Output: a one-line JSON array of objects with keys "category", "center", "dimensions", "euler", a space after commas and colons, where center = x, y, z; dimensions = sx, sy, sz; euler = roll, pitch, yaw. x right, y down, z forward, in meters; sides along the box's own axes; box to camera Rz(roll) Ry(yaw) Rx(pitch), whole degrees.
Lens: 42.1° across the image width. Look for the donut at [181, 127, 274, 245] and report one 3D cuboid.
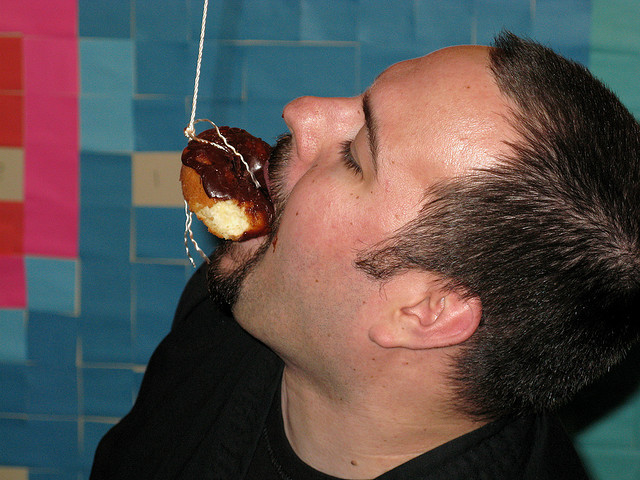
[{"category": "donut", "center": [-0.236, -0.110, 1.923], "dimensions": [0.234, 0.090, 0.244], "euler": [-15, 89, -35]}]
